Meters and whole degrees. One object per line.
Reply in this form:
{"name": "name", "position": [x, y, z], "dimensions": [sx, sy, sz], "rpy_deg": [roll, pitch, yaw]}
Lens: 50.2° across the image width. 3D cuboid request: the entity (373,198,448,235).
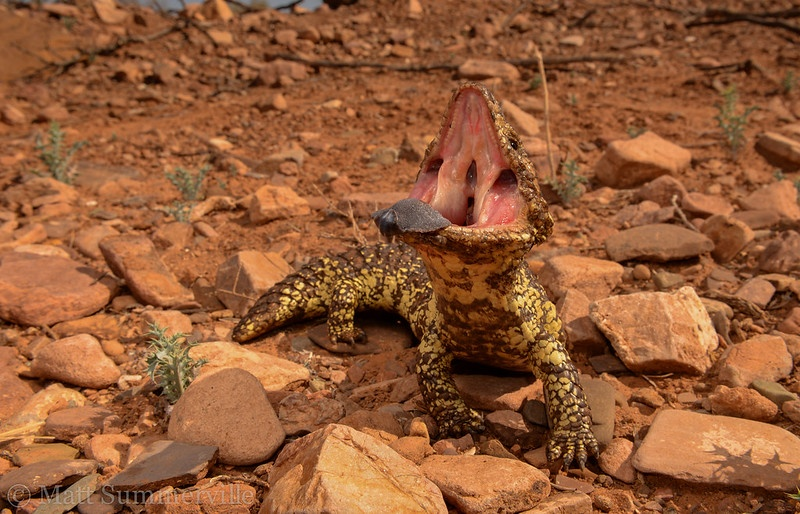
{"name": "entity", "position": [0.097, -0.365, 7.979], "dimensions": [0.461, 0.168, 0.407], "rpy_deg": [-8, 22, -17]}
